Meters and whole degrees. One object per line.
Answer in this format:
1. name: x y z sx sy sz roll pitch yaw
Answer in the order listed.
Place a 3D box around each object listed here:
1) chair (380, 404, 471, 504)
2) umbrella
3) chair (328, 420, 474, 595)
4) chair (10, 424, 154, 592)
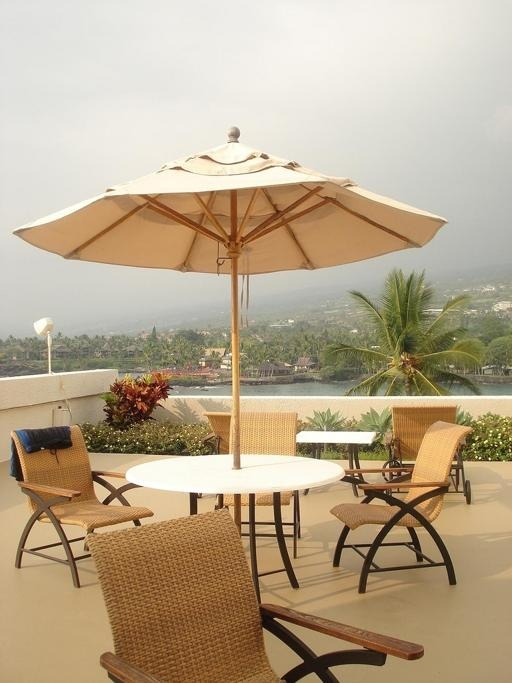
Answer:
1. chair: 1.713 1.091 5.688 0.803 0.976 0.800 0 -7 21
2. umbrella: -0.177 -0.398 3.976 1.940 1.395 1.829 -3 -4 -2
3. chair: 0.943 1.049 3.968 1.087 1.241 0.923 1 -3 -7
4. chair: -1.218 1.116 3.962 0.870 0.916 0.693 0 -2 32
